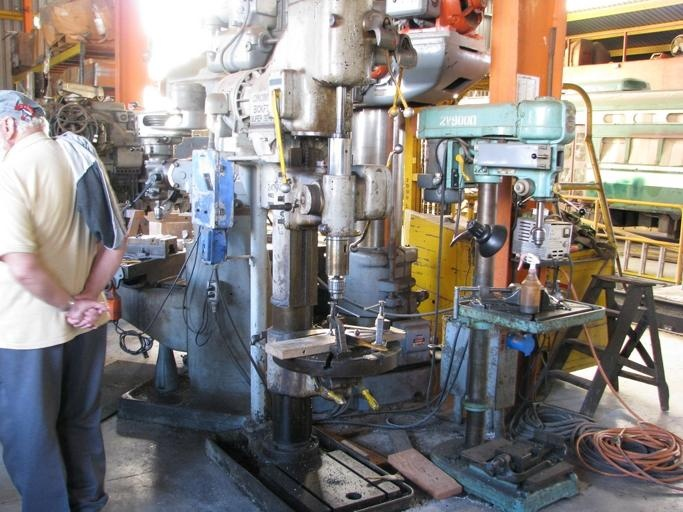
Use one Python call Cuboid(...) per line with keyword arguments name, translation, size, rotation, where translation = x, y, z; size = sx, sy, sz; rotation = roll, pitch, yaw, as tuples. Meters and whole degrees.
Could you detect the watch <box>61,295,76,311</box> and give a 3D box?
Cuboid(name="watch", translation=(-1.167, 0.212, 2.755), size=(0.034, 0.059, 0.055), rotation=(7, 13, 26))
